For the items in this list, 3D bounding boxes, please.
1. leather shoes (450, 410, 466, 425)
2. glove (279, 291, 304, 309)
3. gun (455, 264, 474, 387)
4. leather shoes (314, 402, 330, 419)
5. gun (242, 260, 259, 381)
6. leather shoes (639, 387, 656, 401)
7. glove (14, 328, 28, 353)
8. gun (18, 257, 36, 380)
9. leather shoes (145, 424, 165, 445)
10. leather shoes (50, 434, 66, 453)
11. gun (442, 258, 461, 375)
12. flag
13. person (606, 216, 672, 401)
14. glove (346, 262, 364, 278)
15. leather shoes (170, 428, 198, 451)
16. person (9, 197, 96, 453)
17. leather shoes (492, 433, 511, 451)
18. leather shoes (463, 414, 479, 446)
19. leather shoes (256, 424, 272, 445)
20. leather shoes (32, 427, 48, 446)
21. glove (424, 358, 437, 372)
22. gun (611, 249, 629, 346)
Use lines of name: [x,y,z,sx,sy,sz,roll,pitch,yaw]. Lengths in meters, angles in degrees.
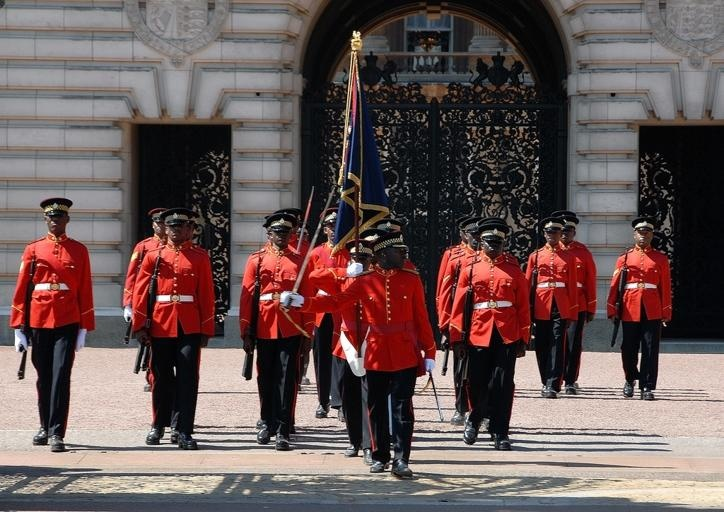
leather shoes: [1.406,2.344,24.967,0.290,0.215,0.140,6,0,24]
glove: [-0.912,0.578,22.965,0.317,0.210,0.243,0,12,-4]
gun: [1.298,1.003,24.310,0.224,1.633,0.386,5,6,8]
leather shoes: [-0.568,2.263,25.374,0.260,0.223,0.613,1,-6,2]
gun: [-1.527,0.959,24.137,0.354,1.361,0.251,-2,7,-8]
leather shoes: [4.388,2.096,26.442,0.214,0.175,0.320,2,11,5]
glove: [-4.723,1.167,23.976,0.158,0.354,0.226,0,13,-6]
gun: [-4.665,0.845,24.097,0.314,1.571,0.240,6,14,36]
leather shoes: [-2.866,2.481,24.013,0.302,0.249,0.682,2,-5,1]
leather shoes: [-4.152,2.547,23.592,0.218,0.203,0.214,-1,12,-8]
gun: [1.301,0.806,24.810,0.186,1.850,0.411,15,-27,-9]
flag: [-0.086,-1.667,23.732,0.683,2.972,0.985,3,6,40]
person: [4.348,0.778,27.051,1.156,2.617,1.222,1,-1,-20]
glove: [-0.105,0.186,23.168,0.240,0.183,0.228,-4,-7,32]
leather shoes: [-2.445,2.534,23.869,0.180,0.180,0.523,3,-1,-42]
person: [-4.314,0.897,23.963,1.100,3.307,1.418,3,14,7]
leather shoes: [1.941,2.555,23.884,0.287,0.202,0.209,2,12,7]
leather shoes: [1.546,2.419,24.136,0.186,0.412,0.212,2,-11,4]
leather shoes: [-1.357,2.481,23.967,0.142,0.132,0.363,3,8,-1]
leather shoes: [-4.426,2.482,23.775,0.205,0.241,0.143,-1,13,-9]
glove: [0.911,1.446,23.029,0.191,0.138,0.149,-1,3,-19]
gun: [4.116,0.688,27.510,0.161,1.705,0.593,10,-17,-6]
